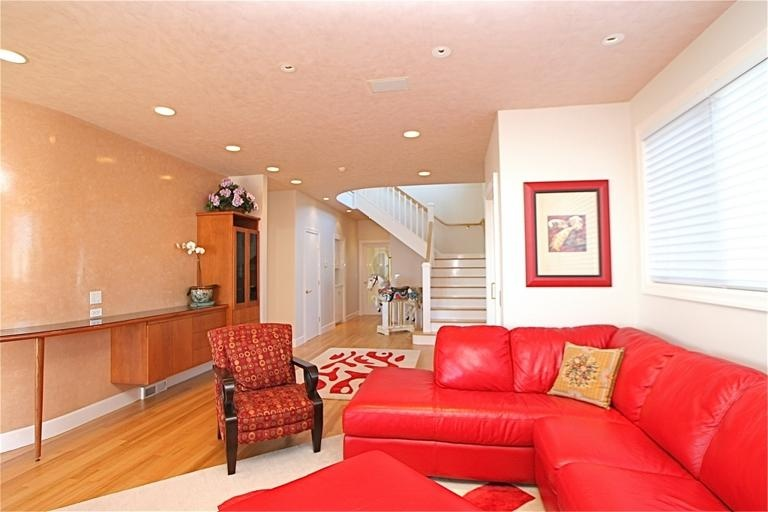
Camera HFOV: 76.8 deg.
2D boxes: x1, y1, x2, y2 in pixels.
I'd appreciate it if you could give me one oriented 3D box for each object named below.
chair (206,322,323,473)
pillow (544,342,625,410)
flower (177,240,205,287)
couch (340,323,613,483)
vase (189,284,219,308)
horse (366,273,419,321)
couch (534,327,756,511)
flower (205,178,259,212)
[{"bbox_3d":[-1.142,1.213,4.584,0.875,0.943,0.988,-3,12,-26],"label":"chair"},{"bbox_3d":[1.735,1.002,4.109,0.180,0.469,0.554,28,-10,-38],"label":"pillow"},{"bbox_3d":[-2.481,0.090,6.370,0.302,0.607,0.379,2,10,8],"label":"flower"},{"bbox_3d":[0.812,1.280,4.631,2.705,1.042,1.327,-1,-3,8],"label":"couch"},{"bbox_3d":[-2.349,0.510,6.189,0.370,0.182,0.236,1,-3,7],"label":"vase"},{"bbox_3d":[0.267,0.778,9.342,1.351,0.737,0.283,9,-11,-29],"label":"horse"},{"bbox_3d":[1.844,0.745,3.657,1.212,1.208,2.001,0,-3,7],"label":"couch"},{"bbox_3d":[-2.160,-0.825,6.696,0.626,0.427,0.540,-1,0,-28],"label":"flower"}]
